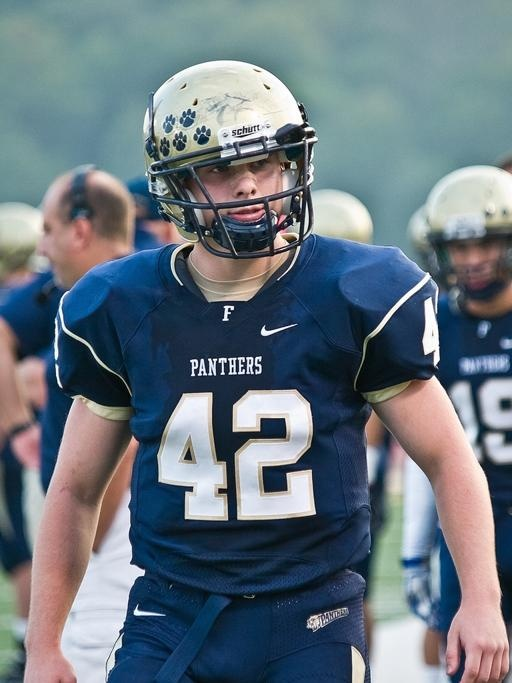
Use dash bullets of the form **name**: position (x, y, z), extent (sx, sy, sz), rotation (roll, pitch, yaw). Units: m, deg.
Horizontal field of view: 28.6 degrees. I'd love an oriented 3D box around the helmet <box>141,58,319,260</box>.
- **helmet**: position (-0.047, -0.331, 1.791), extent (0.323, 0.287, 0.389), rotation (-13, 24, -14)
